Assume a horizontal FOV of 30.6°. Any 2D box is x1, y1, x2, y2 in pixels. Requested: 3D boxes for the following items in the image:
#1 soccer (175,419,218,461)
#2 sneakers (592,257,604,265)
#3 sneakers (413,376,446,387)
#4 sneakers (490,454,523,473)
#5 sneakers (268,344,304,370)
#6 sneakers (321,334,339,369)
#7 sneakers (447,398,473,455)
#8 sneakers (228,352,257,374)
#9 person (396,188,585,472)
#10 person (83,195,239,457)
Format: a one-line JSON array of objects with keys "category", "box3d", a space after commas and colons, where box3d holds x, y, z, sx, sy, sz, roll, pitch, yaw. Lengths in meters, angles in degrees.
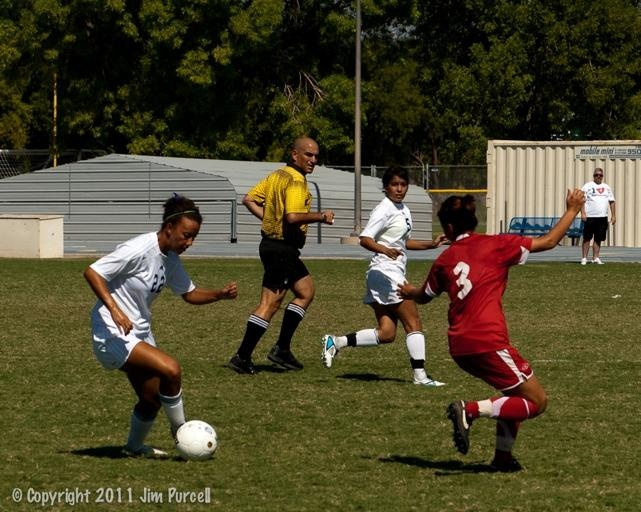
[{"category": "soccer", "box3d": [-1.059, 1.574, 10.143, 0.319, 0.323, 0.325, 24, 26, 22]}, {"category": "sneakers", "box3d": [5.746, 0.110, 24.184, 0.125, 0.132, 0.330, 4, 5, 37]}, {"category": "sneakers", "box3d": [1.113, 1.296, 12.161, 0.370, 0.148, 0.115, 0, 1, -4]}, {"category": "sneakers", "box3d": [1.579, 1.791, 9.971, 0.147, 0.086, 0.204, 6, 2, -9]}, {"category": "sneakers", "box3d": [-0.396, 1.129, 12.791, 0.445, 0.204, 0.190, 31, 3, -15]}, {"category": "sneakers", "box3d": [0.111, 1.040, 12.719, 0.188, 0.385, 0.131, 4, -3, -1]}, {"category": "sneakers", "box3d": [1.164, 1.404, 9.853, 0.252, 0.497, 0.167, -7, 10, 9]}, {"category": "sneakers", "box3d": [-0.841, 1.184, 12.630, 0.381, 0.176, 0.141, 17, 8, -15]}, {"category": "person", "box3d": [1.483, 0.654, 9.976, 1.297, 2.335, 0.808, 1, 8, 5]}, {"category": "person", "box3d": [-1.489, 0.614, 10.131, 1.064, 2.259, 0.677, -2, 9, -16]}]
